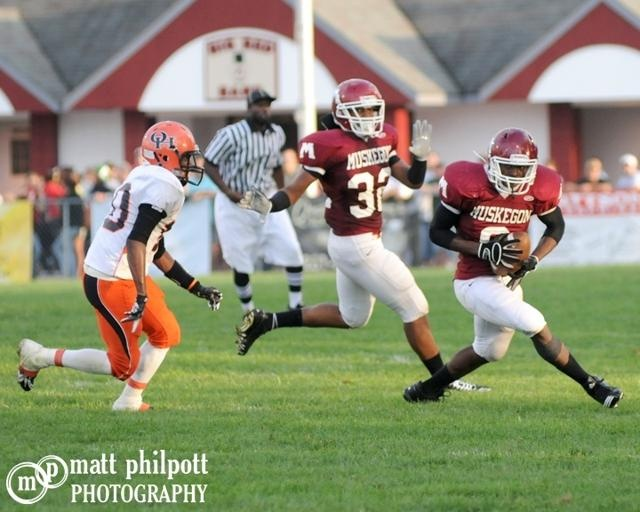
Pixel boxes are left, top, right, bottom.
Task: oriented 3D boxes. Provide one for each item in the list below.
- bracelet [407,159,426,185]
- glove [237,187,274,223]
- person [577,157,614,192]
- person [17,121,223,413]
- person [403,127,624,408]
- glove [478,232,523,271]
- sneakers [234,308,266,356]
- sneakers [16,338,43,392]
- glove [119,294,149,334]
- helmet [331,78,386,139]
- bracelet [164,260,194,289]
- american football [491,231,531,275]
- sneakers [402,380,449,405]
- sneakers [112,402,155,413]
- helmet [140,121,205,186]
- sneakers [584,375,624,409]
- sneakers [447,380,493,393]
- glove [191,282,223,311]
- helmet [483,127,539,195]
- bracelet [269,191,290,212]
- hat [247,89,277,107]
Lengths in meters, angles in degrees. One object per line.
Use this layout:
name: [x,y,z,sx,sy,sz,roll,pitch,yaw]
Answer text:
bracelet: [0.689,-0.579,8.157,0.139,0.176,0.062,2,26,-42]
glove: [-0.462,-0.376,8.003,0.247,0.240,0.098,22,0,0]
person: [4.091,-1.160,17.263,0.673,0.638,1.275,-2,4,9]
person: [-1.298,0.089,7.772,1.273,1.948,0.659,0,10,-9]
person: [1.316,0.033,7.885,1.149,1.774,0.559,2,10,4]
glove: [1.201,-0.046,7.758,0.293,0.286,0.225,8,8,21]
sneakers: [-0.545,0.572,8.464,0.192,0.417,0.141,3,42,-37]
sneakers: [-2.028,0.763,8.046,0.146,0.357,0.200,14,9,-6]
glove: [-1.189,0.341,7.574,0.190,0.095,0.291,26,-20,-18]
helmet: [0.247,-1.049,8.200,0.345,0.380,0.461,-6,14,-28]
bracelet: [-0.980,0.137,8.072,0.240,0.109,0.143,31,44,-16]
american football: [1.273,-0.006,7.766,0.260,0.302,0.195,2,10,7]
sneakers: [0.733,0.935,8.149,0.317,0.117,0.142,-7,17,-12]
sneakers: [-1.280,1.027,7.925,0.265,0.104,0.089,-7,5,2]
helmet: [-1.008,-0.717,7.893,0.453,0.412,0.324,6,14,-1]
sneakers: [1.910,0.910,7.870,0.294,0.144,0.144,36,-5,23]
sneakers: [1.083,0.947,8.461,0.340,0.146,0.114,-3,7,3]
glove: [-0.747,0.247,8.155,0.248,0.125,0.173,38,-22,-15]
helmet: [1.309,-0.668,7.915,0.367,0.432,0.473,0,21,-14]
bracelet: [-0.272,-0.361,7.994,0.141,0.121,0.126,-3,-27,36]
hat: [-0.587,-1.458,10.707,0.298,0.170,0.213,-3,7,18]
